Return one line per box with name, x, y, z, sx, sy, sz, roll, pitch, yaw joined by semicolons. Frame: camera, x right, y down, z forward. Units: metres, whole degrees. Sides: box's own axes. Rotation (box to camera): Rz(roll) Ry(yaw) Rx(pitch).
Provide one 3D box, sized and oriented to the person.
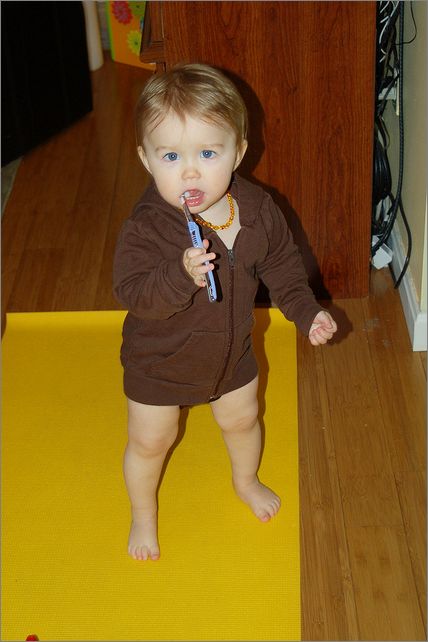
person;0.002;0.036;0.833;0.347;0.800;0.309;-23;36;-36
